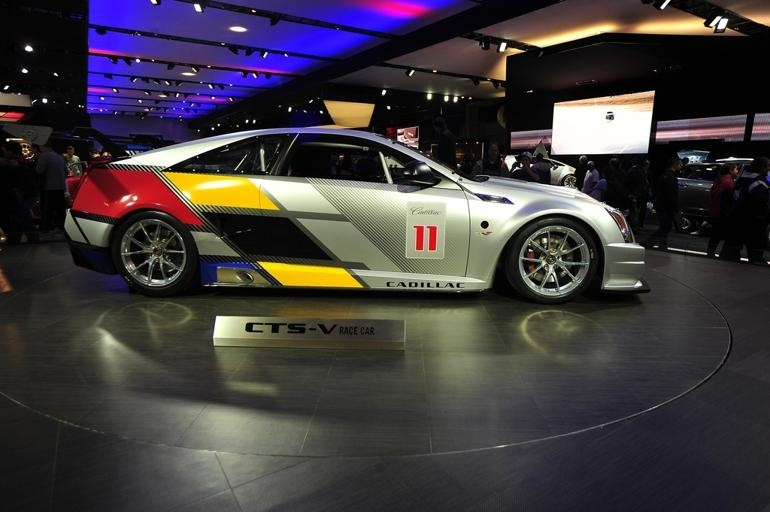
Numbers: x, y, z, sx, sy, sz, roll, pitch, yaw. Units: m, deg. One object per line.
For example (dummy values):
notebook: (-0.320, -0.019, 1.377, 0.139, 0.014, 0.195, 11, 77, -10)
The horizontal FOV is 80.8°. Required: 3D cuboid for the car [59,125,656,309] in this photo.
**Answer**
car: (-0.135, -0.379, 5.292, 5.873, 1.354, 2.176, 0, 2, 1)
